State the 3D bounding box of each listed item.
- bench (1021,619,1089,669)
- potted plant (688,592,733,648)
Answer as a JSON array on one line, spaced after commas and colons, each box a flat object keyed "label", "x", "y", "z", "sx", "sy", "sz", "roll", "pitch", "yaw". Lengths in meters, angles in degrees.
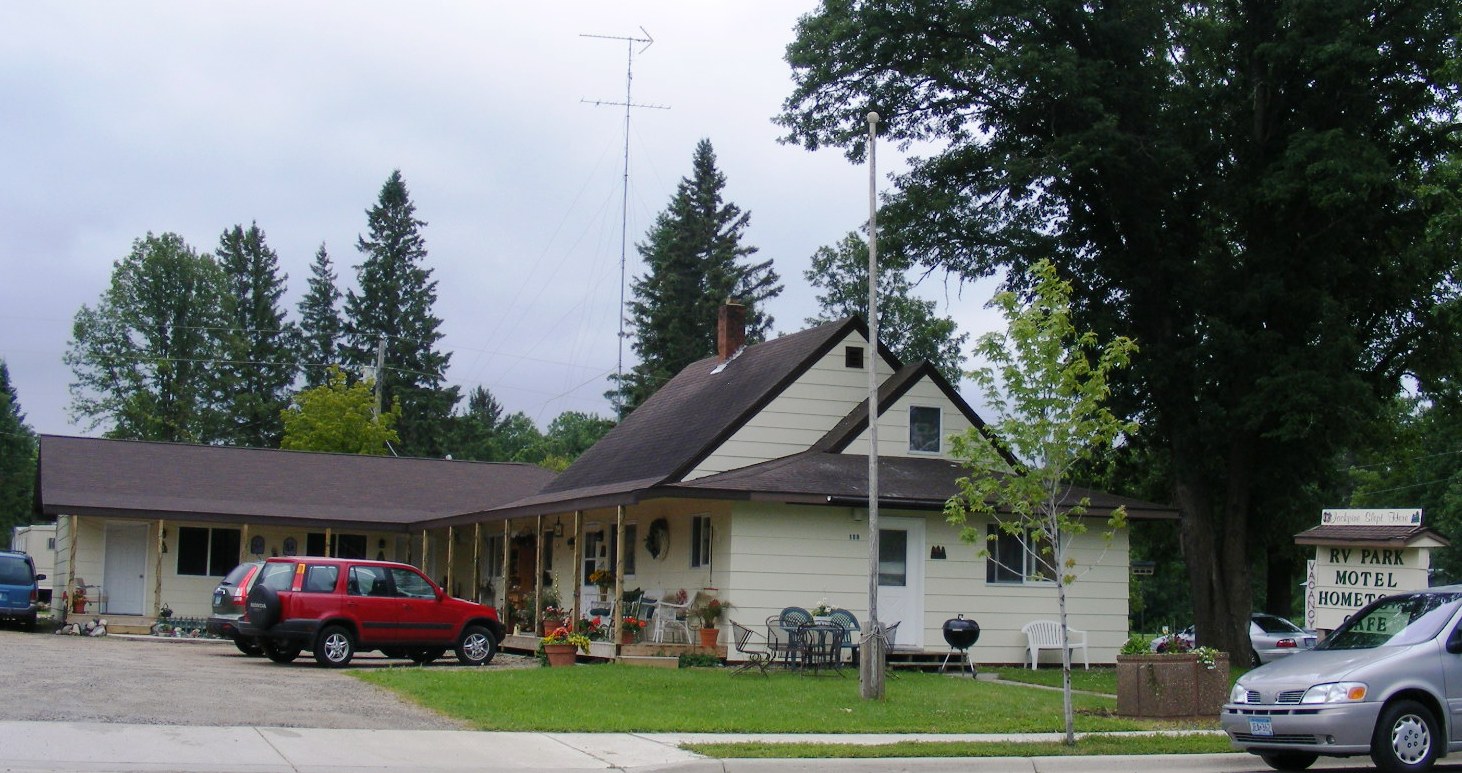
[{"label": "bench", "x": 11.279, "y": 8.990, "z": 55.944, "sx": 2.441, "sy": 1.706, "sz": 0.935, "roll": 6, "pitch": -11, "yaw": -21}, {"label": "potted plant", "x": -0.755, "y": 7.911, "z": 54.341, "sx": 1.714, "sy": 2.006, "sz": 1.709, "roll": 3, "pitch": -7, "yaw": -1}]
